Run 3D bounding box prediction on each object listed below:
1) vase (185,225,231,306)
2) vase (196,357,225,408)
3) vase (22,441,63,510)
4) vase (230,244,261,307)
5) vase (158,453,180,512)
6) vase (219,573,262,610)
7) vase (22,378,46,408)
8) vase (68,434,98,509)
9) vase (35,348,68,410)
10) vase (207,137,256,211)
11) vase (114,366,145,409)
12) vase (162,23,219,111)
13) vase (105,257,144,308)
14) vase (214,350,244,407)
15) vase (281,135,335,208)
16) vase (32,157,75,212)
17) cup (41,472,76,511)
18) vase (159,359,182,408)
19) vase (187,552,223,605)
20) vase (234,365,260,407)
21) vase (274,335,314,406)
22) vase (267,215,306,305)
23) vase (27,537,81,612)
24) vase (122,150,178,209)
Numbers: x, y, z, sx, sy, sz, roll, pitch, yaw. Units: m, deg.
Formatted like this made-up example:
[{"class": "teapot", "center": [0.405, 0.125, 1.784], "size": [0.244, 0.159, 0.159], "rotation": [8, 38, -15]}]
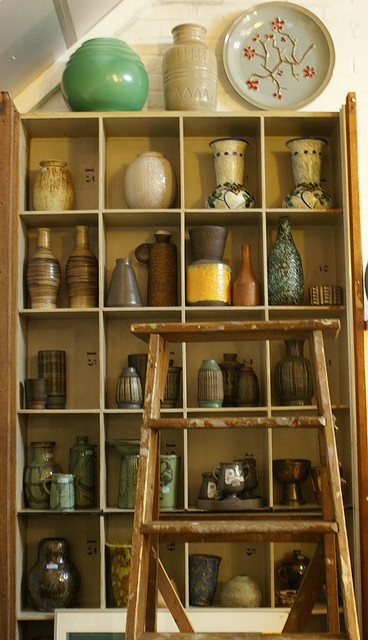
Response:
[{"class": "vase", "center": [0.093, -0.197, 2.352], "size": [0.173, 0.315, 0.176], "rotation": [6, -8, -34]}, {"class": "vase", "center": [0.096, 0.243, 2.271], "size": [0.090, 0.180, 0.097], "rotation": [1, -9, -10]}, {"class": "vase", "center": [-0.535, 0.585, 2.272], "size": [0.131, 0.242, 0.139], "rotation": [-4, -10, 5]}, {"class": "vase", "center": [0.231, -0.174, 2.331], "size": [0.111, 0.237, 0.239], "rotation": [-4, 6, 5]}, {"class": "vase", "center": [-0.067, 0.599, 2.216], "size": [0.115, 0.189, 0.132], "rotation": [6, -13, -12]}, {"class": "vase", "center": [0.194, 0.955, 2.092], "size": [0.105, 0.136, 0.114], "rotation": [2, -9, 1]}, {"class": "vase", "center": [-0.552, 0.273, 2.218], "size": [0.083, 0.111, 0.093], "rotation": [1, -5, -16]}, {"class": "vase", "center": [-0.386, 0.578, 2.257], "size": [0.096, 0.254, 0.128], "rotation": [-4, 5, 4]}, {"class": "vase", "center": [-0.507, 0.237, 2.364], "size": [0.107, 0.237, 0.109], "rotation": [-6, 4, -39]}, {"class": "vase", "center": [0.181, -0.563, 2.413], "size": [0.177, 0.295, 0.193], "rotation": [1, 1, 14]}, {"class": "vase", "center": [-0.209, 0.264, 2.262], "size": [0.091, 0.161, 0.104], "rotation": [0, -17, -4]}, {"class": "vase", "center": [0.023, -1.007, 2.446], "size": [0.206, 0.355, 0.209], "rotation": [-3, 5, -17]}, {"class": "vase", "center": [-0.238, -0.141, 2.349], "size": [0.137, 0.198, 0.141], "rotation": [-10, -12, 39]}, {"class": "vase", "center": [0.185, 0.240, 2.392], "size": [0.107, 0.205, 0.110], "rotation": [1, 2, 39]}, {"class": "vase", "center": [0.488, -0.564, 2.410], "size": [0.261, 0.304, 0.281], "rotation": [0, 1, -4]}, {"class": "vase", "center": [-0.527, -0.522, 2.417], "size": [0.141, 0.217, 0.146], "rotation": [0, -8, -13]}, {"class": "cup", "center": [-0.438, 0.614, 2.130], "size": [0.132, 0.154, 0.091], "rotation": [-1, -7, 9]}, {"class": "vase", "center": [-0.044, 0.243, 2.293], "size": [0.119, 0.195, 0.128], "rotation": [3, -10, -2]}, {"class": "vase", "center": [0.046, 0.950, 2.195], "size": [0.158, 0.154, 0.162], "rotation": [15, -26, -29]}, {"class": "vase", "center": [0.239, 0.259, 2.309], "size": [0.086, 0.165, 0.096], "rotation": [-4, -13, 21]}, {"class": "vase", "center": [0.428, 0.206, 2.328], "size": [0.141, 0.255, 0.148], "rotation": [-2, 1, 22]}, {"class": "vase", "center": [0.376, -0.227, 2.313], "size": [0.122, 0.342, 0.171], "rotation": [-1, 6, 34]}, {"class": "vase", "center": [-0.467, 0.892, 2.148], "size": [0.158, 0.244, 0.166], "rotation": [3, 2, 3]}, {"class": "vase", "center": [-0.140, -0.544, 2.425], "size": [0.186, 0.249, 0.185], "rotation": [-1, 4, -44]}]
